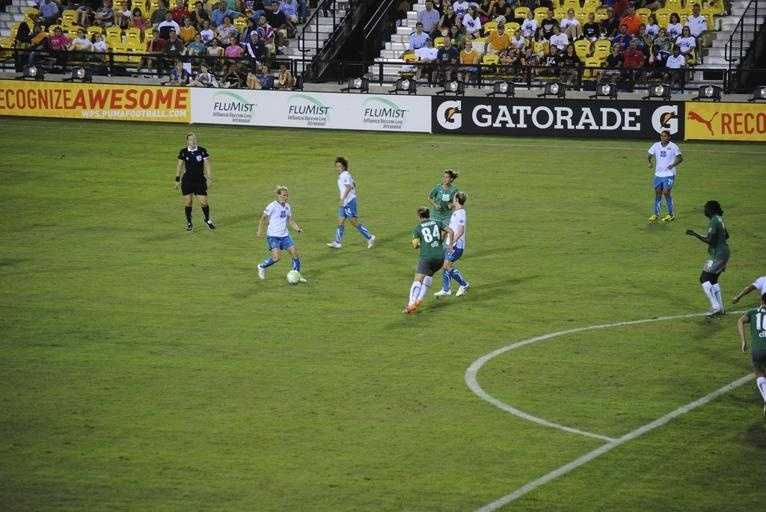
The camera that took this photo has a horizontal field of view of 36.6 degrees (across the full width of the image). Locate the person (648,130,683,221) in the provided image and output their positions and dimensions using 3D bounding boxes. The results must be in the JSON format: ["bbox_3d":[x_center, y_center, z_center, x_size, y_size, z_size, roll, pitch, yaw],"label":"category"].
[{"bbox_3d":[7.891,-2.265,32.555,0.868,2.570,1.004,4,13,12],"label":"person"}]

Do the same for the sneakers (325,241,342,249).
[{"bbox_3d":[-1.289,-0.290,30.683,0.422,0.165,0.140,7,20,15],"label":"sneakers"}]

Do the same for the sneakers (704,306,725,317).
[{"bbox_3d":[7.605,1.293,26.526,0.530,0.194,0.159,-18,29,11],"label":"sneakers"}]

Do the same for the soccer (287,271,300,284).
[{"bbox_3d":[-2.166,0.526,28.215,0.307,0.359,0.241,1,12,0],"label":"soccer"}]

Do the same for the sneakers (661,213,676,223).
[{"bbox_3d":[8.084,-1.075,32.671,0.386,0.137,0.168,-4,7,-44],"label":"sneakers"}]

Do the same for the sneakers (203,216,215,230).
[{"bbox_3d":[-4.803,-0.923,31.978,0.180,0.141,0.422,-23,51,-37],"label":"sneakers"}]

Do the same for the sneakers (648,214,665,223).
[{"bbox_3d":[7.726,-1.080,32.713,0.560,0.194,0.170,1,14,-13],"label":"sneakers"}]

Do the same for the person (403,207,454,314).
[{"bbox_3d":[1.042,0.106,26.781,0.973,2.434,1.469,2,12,4],"label":"person"}]

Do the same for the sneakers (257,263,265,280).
[{"bbox_3d":[-3.022,0.401,28.362,0.198,0.379,0.169,6,42,16],"label":"sneakers"}]
